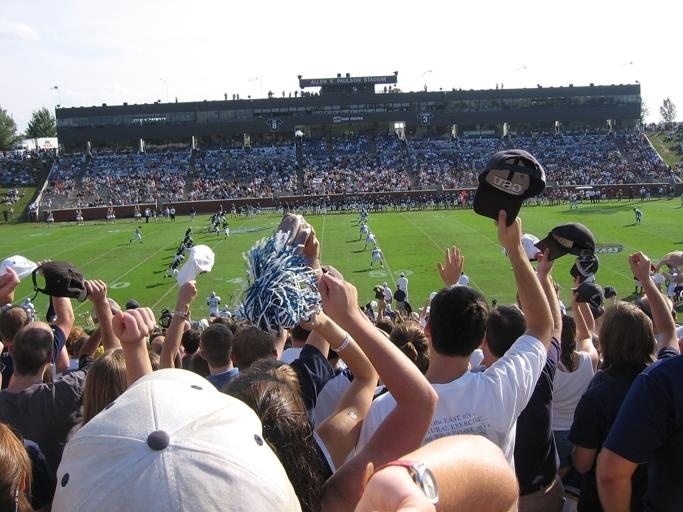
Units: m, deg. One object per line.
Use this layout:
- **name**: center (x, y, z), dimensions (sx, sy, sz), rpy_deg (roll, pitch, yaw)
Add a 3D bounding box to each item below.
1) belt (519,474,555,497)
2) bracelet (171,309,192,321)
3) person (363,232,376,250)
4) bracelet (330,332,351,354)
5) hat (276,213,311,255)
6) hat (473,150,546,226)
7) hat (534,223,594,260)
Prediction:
- **belt**: center (1.356, 1.602, 4.339), dimensions (0.130, 0.078, 0.174), rpy_deg (-36, -33, 16)
- **bracelet**: center (-1.302, 0.485, 5.133), dimensions (0.122, 0.069, 0.156), rpy_deg (-2, -3, 7)
- **person**: center (1.216, -0.560, 26.215), dimensions (0.432, 0.769, 0.236), rpy_deg (-5, -28, 4)
- **bracelet**: center (0.002, 0.501, 3.555), dimensions (0.025, 0.112, 0.104), rpy_deg (33, -19, -24)
- **hat**: center (-0.279, -0.136, 3.794), dimensions (0.194, 0.228, 0.337), rpy_deg (0, 6, 5)
- **hat**: center (1.004, -0.431, 3.752), dimensions (0.334, 0.527, 0.250), rpy_deg (18, 26, 17)
- **hat**: center (1.828, -0.113, 5.044), dimensions (0.399, 0.250, 0.289), rpy_deg (4, 4, -12)
